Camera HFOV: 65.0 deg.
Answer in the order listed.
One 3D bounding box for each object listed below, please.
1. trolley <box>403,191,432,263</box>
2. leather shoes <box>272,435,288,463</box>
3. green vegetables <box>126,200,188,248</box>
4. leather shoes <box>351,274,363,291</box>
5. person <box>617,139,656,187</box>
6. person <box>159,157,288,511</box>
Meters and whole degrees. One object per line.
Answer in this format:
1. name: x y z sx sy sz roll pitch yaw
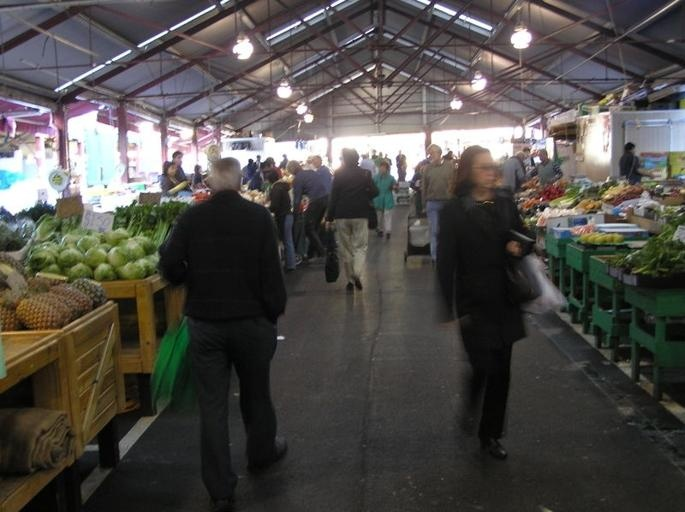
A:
1. trolley: 1.507 -0.652 10.480 0.647 1.777 0.643 1 39 8
2. leather shoes: -0.427 1.333 3.719 0.055 0.114 0.158 4 15 9
3. green vegetables: -1.946 -0.376 5.660 0.609 0.687 0.672 4 13 -9
4. leather shoes: 0.219 0.414 8.329 0.108 0.113 0.342 29 -16 37
5. person: 6.296 -2.017 11.577 0.623 0.852 1.099 2 10 25
6. person: -0.697 0.439 3.279 0.719 2.035 0.517 -5 9 -19
